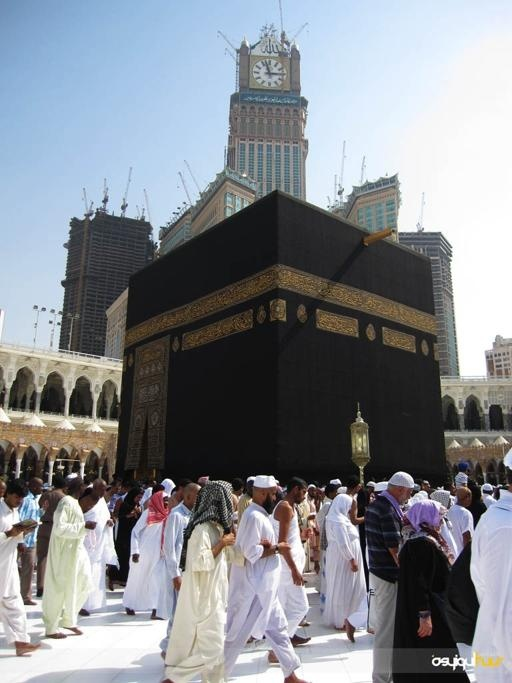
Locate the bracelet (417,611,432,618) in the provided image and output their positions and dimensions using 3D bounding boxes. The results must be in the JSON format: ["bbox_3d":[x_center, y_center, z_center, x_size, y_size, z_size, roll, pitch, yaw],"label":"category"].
[{"bbox_3d":[0.804,1.304,2.579,0.045,0.030,0.035,-2,-6,29],"label":"bracelet"}]

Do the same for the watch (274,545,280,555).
[{"bbox_3d":[0.128,1.232,3.207,0.028,0.042,0.038,0,-23,7],"label":"watch"}]

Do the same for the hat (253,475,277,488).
[{"bbox_3d":[0.050,0.877,3.432,0.142,0.059,0.140,3,-9,-6],"label":"hat"}]
